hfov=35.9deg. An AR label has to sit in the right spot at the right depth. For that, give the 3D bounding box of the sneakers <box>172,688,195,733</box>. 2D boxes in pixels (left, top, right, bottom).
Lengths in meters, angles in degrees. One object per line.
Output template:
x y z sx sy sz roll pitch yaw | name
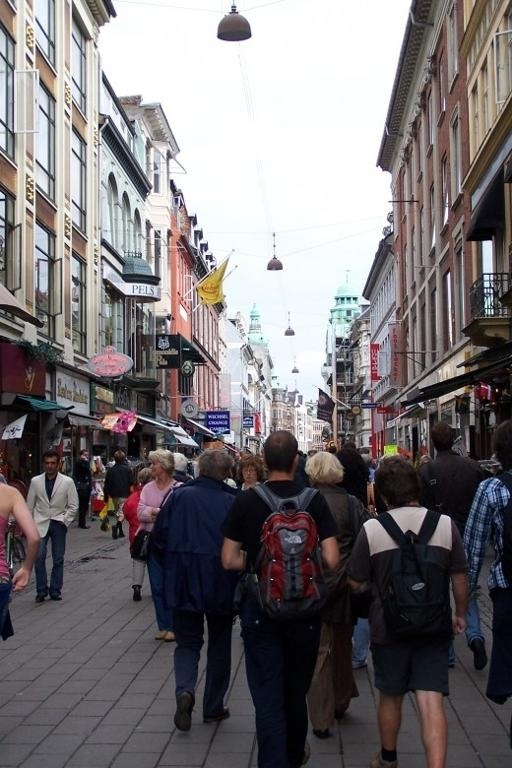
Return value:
-0.400 1.760 4.305 0.075 0.228 0.086 0 1 3 | sneakers

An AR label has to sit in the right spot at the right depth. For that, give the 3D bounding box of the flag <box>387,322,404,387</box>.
7.134 -1.530 40.115 0.611 3.600 2.295 -1 -6 9 | flag

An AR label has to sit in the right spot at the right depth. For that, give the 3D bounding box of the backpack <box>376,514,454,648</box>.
0.662 0.806 3.313 0.299 0.531 0.254 -1 -6 11 | backpack

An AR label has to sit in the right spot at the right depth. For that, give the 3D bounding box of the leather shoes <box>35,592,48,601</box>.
-2.562 2.538 9.435 0.071 0.101 0.226 3 1 2 | leather shoes

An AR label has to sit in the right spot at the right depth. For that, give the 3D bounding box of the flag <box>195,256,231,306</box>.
-1.640 -4.310 31.849 1.339 0.340 2.977 5 -40 -21 | flag

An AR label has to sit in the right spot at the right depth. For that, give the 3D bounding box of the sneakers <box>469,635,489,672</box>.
1.575 1.886 5.561 0.092 0.296 0.117 -4 -3 10 | sneakers

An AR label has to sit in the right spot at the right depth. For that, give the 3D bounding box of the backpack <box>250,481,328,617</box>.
0.130 0.673 3.171 0.296 0.526 0.319 0 -6 1 | backpack

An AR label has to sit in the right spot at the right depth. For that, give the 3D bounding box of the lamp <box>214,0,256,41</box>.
-0.358 -5.417 11.879 0.439 0.752 0.512 -4 -7 37 | lamp
